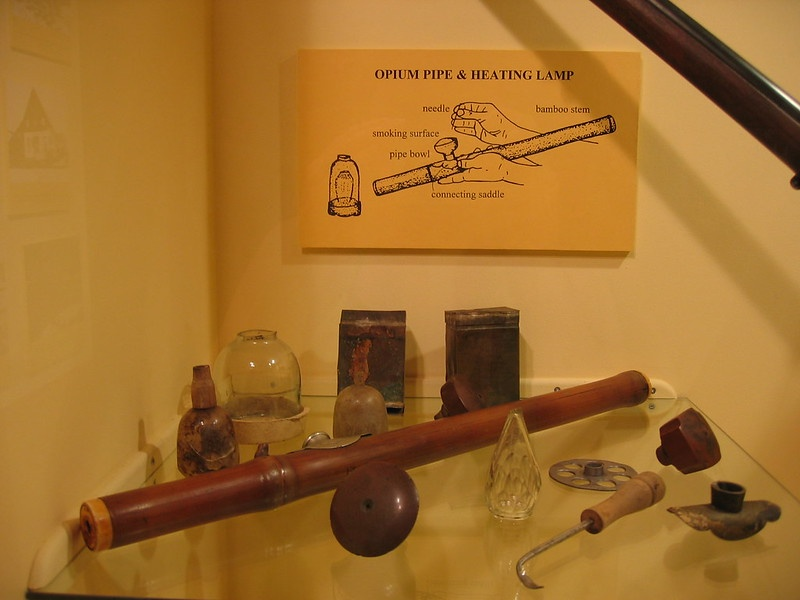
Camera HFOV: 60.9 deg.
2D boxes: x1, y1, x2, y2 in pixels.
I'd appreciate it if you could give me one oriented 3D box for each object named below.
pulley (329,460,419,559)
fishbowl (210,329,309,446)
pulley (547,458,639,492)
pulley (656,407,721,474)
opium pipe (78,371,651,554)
[{"bbox_3d":[-0.045,0.327,1.123,0.138,0.137,0.141,-3,11,-9],"label":"pulley"},{"bbox_3d":[-0.331,0.216,1.582,0.273,0.303,0.274,5,-11,-35],"label":"fishbowl"},{"bbox_3d":[0.369,0.331,1.300,0.123,0.045,0.121,-12,5,-9],"label":"pulley"},{"bbox_3d":[0.555,0.275,1.306,0.112,0.121,0.080,-1,0,10],"label":"pulley"},{"bbox_3d":[0.064,0.282,1.346,1.257,0.134,0.112,-8,18,-32],"label":"opium pipe"}]
